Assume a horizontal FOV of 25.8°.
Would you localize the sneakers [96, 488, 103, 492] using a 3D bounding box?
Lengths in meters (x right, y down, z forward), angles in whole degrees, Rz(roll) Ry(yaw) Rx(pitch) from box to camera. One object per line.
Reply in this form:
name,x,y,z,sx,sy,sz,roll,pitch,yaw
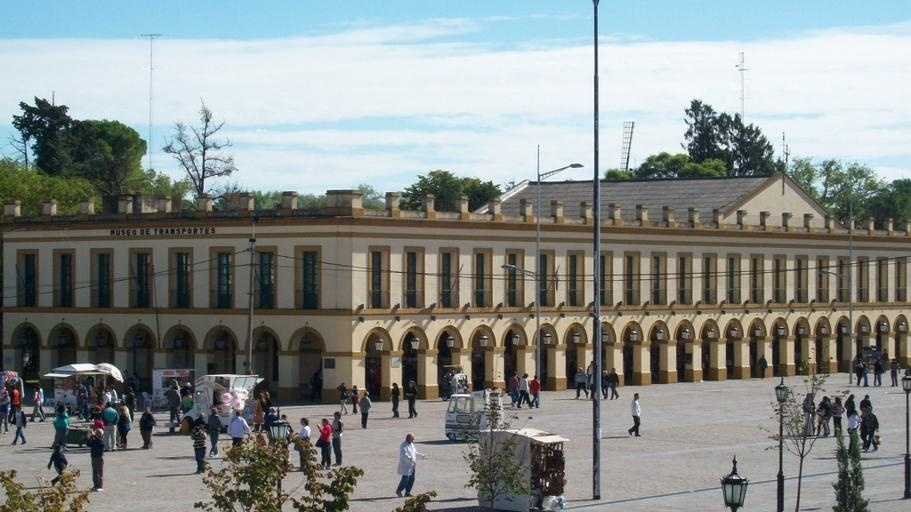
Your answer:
sneakers,-25.800,16.713,142.703,0.493,0.190,0.171,4,-1,-3
